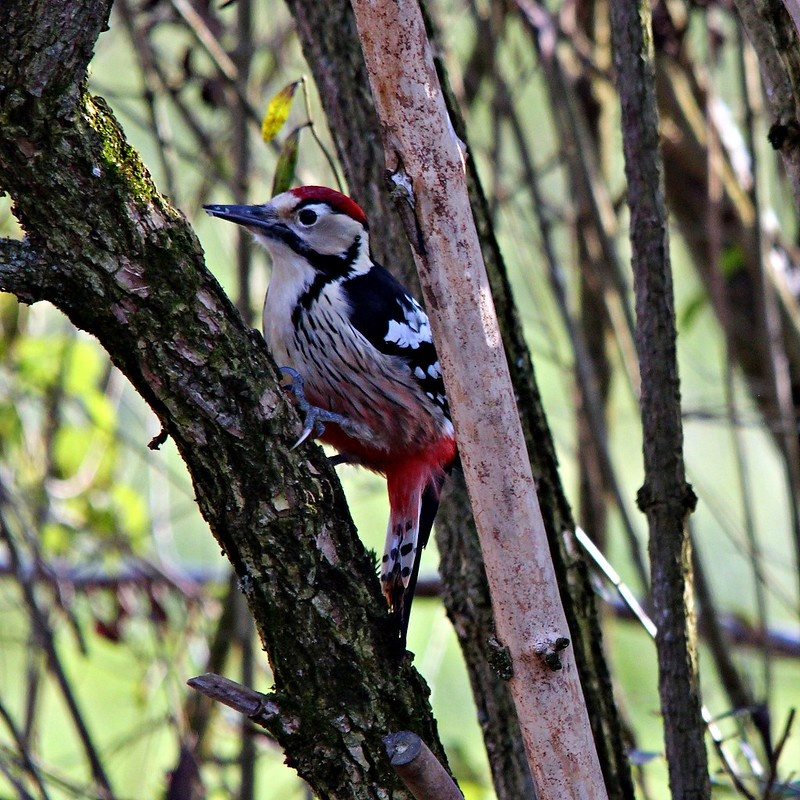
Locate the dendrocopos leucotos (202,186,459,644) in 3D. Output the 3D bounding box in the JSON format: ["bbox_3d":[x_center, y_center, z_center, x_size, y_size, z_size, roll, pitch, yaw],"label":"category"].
[{"bbox_3d":[-0.178,0.070,4.331,0.721,1.327,0.423,17,-41,-12],"label":"dendrocopos leucotos"}]
